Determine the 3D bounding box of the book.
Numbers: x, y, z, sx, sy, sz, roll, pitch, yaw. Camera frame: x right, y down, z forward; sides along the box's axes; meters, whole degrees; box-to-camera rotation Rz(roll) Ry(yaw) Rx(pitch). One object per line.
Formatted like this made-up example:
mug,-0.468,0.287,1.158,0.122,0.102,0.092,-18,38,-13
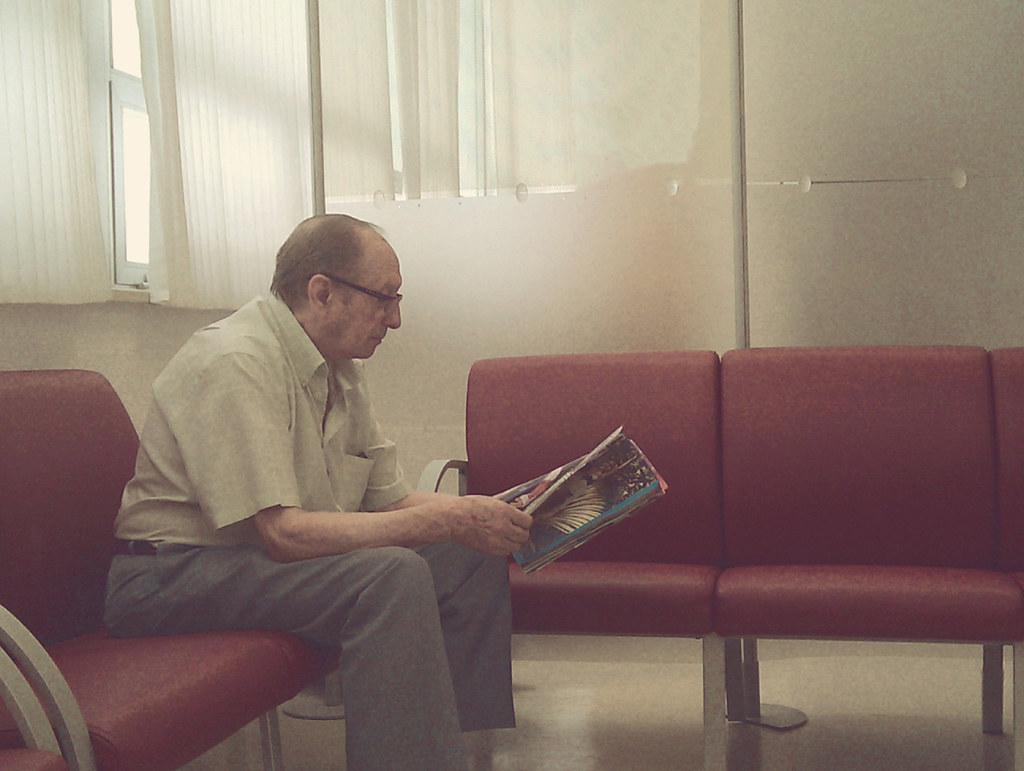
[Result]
book,0.159,0.279,2.191,0.374,0.246,0.094,-31,-38,-2
